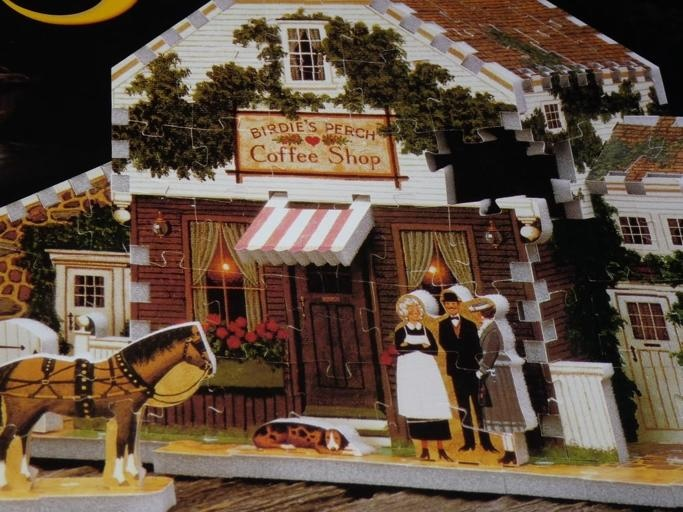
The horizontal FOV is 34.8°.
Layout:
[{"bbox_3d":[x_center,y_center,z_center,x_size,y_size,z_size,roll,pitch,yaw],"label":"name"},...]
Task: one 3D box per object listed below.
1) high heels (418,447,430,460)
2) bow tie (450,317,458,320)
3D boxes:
[{"bbox_3d":[1.194,2.873,15.770,0.196,0.143,0.160,0,5,-12],"label":"high heels"},{"bbox_3d":[1.627,0.907,15.797,0.071,0.036,0.017,-4,-9,12],"label":"bow tie"}]
